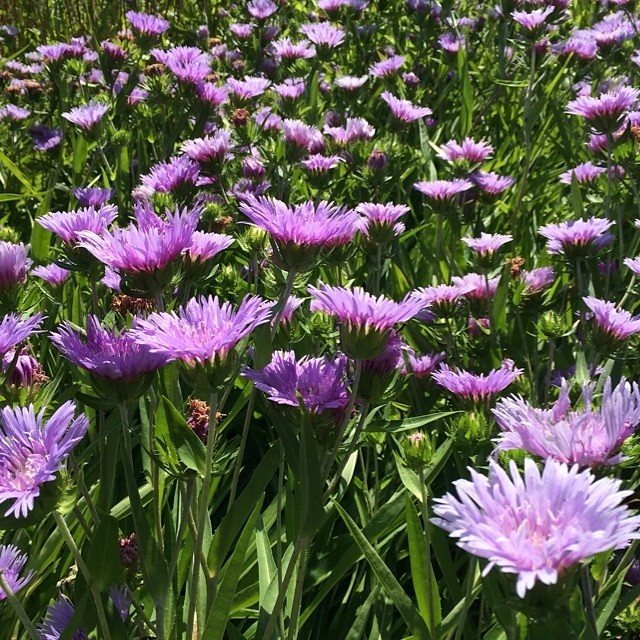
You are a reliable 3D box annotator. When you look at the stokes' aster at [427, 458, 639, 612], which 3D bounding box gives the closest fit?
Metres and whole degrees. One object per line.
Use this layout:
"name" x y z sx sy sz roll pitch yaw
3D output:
"stokes' aster" 0.308 0.289 1.277 0.199 0.139 0.221 6 28 33
